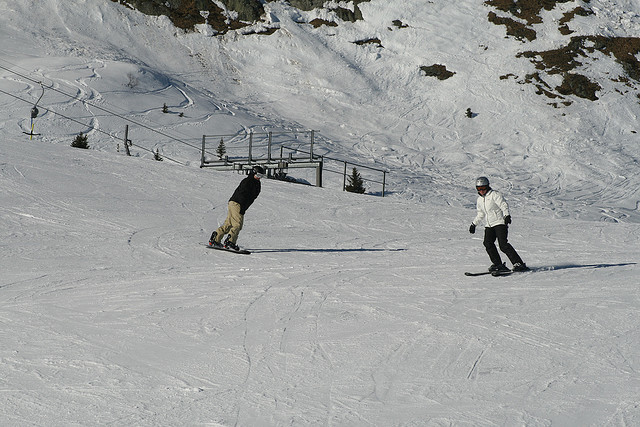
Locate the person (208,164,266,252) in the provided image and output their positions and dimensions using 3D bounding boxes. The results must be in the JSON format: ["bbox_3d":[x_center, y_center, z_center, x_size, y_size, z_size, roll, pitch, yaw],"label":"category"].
[{"bbox_3d":[-2.243,-0.161,20.570,0.985,2.328,0.622,13,9,4],"label":"person"}]

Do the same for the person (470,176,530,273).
[{"bbox_3d":[4.537,0.308,19.237,1.618,2.313,0.830,12,9,8],"label":"person"}]

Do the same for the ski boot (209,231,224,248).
[{"bbox_3d":[-2.714,0.705,20.594,0.434,0.429,0.172,11,9,6],"label":"ski boot"}]

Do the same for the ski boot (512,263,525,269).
[{"bbox_3d":[4.996,1.308,19.251,0.207,0.148,0.137,-21,12,-17],"label":"ski boot"}]

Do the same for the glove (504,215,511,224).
[{"bbox_3d":[4.726,0.149,19.146,0.142,0.252,0.383,14,9,17],"label":"glove"}]
